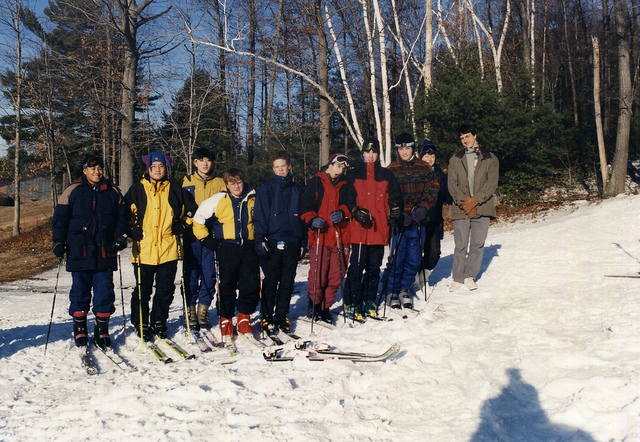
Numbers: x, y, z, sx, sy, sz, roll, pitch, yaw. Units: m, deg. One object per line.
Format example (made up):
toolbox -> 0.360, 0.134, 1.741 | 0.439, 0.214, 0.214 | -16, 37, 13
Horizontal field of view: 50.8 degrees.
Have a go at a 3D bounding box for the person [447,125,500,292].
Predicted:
person -> 3.894, -0.329, 17.362 | 1.272, 4.181, 0.833 | -4, 13, 5

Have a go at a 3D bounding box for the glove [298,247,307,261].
glove -> -0.407, 0.775, 15.939 | 0.086, 0.248, 0.212 | 21, 3, -5

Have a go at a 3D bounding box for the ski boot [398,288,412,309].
ski boot -> 2.131, 1.919, 16.879 | 0.175, 0.250, 0.560 | 1, 20, -5

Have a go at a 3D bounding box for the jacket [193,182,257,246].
jacket -> -1.997, -0.172, 15.968 | 1.929, 1.675, 0.937 | 1, -7, -27

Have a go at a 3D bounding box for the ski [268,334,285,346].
ski -> -0.992, 2.719, 15.468 | 0.123, 0.139, 0.375 | 0, 38, -50

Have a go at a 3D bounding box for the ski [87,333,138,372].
ski -> -4.678, 2.960, 15.109 | 1.126, 0.159, 0.156 | 34, 35, 24

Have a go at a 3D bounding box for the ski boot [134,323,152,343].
ski boot -> -4.056, 2.541, 15.552 | 0.222, 0.280, 0.576 | -7, 10, -42

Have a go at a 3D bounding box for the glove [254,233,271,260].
glove -> -1.330, 0.571, 15.420 | 0.363, 0.507, 0.192 | 16, -21, -23

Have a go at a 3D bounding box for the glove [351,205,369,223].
glove -> 0.947, -0.153, 15.957 | 0.279, 0.424, 0.171 | 1, 7, 28

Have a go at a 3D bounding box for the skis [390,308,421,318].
skis -> 2.095, 2.232, 16.433 | 0.608, 0.027, 0.204 | 23, 29, 39

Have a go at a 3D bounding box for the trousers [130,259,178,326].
trousers -> -3.857, 1.563, 15.654 | 0.964, 2.487, 0.725 | 5, 25, -12

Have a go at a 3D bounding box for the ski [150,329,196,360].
ski -> -3.388, 2.824, 15.390 | 0.127, 0.163, 1.054 | -10, 32, -39

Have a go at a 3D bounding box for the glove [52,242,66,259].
glove -> -5.832, 0.650, 15.066 | 0.225, 0.322, 0.305 | -4, 7, -16

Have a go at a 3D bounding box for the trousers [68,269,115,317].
trousers -> -5.143, 1.608, 15.201 | 1.159, 1.458, 0.521 | 1, -2, -17

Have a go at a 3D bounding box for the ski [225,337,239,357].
ski -> -2.017, 2.830, 15.285 | 0.152, 0.115, 0.532 | -5, 26, -15

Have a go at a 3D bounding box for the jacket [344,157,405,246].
jacket -> 1.304, -0.385, 16.331 | 1.944, 2.805, 0.802 | 1, -4, -10

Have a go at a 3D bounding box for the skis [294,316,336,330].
skis -> -0.106, 2.443, 16.218 | 0.921, 0.113, 0.111 | 14, -28, 25

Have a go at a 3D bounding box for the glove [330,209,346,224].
glove -> 0.418, -0.088, 15.855 | 0.260, 0.290, 0.269 | -4, 3, -35

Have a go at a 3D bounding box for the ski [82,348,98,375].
ski -> -5.073, 3.125, 14.829 | 0.183, 0.127, 0.703 | -5, 42, -20

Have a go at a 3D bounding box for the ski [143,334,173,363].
ski -> -3.682, 2.891, 15.257 | 0.147, 0.156, 1.005 | -21, 34, -30

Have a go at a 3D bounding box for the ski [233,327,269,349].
ski -> -1.579, 2.770, 15.635 | 1.272, 0.104, 0.211 | 25, 56, 35

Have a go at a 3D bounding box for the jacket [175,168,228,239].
jacket -> -2.800, -0.352, 15.929 | 1.534, 2.188, 0.549 | 0, -5, -20

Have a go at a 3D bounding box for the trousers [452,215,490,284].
trousers -> 3.895, 0.742, 17.465 | 0.919, 1.848, 0.475 | -3, 13, 8

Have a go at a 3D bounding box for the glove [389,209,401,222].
glove -> 1.810, -0.175, 16.170 | 0.293, 0.421, 0.223 | 3, 14, 14

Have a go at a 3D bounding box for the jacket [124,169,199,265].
jacket -> -3.678, -0.096, 15.520 | 1.442, 2.013, 0.719 | -9, 14, -16

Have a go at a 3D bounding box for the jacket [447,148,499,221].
jacket -> 3.991, -0.971, 17.417 | 1.237, 1.893, 1.003 | -1, 6, 12

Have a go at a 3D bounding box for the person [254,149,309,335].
person -> -0.949, 0.515, 15.754 | 1.366, 4.104, 0.881 | -11, 14, -23

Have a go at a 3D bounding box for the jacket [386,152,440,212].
jacket -> 2.364, -1.049, 17.042 | 1.359, 1.533, 0.733 | 0, 21, 18
